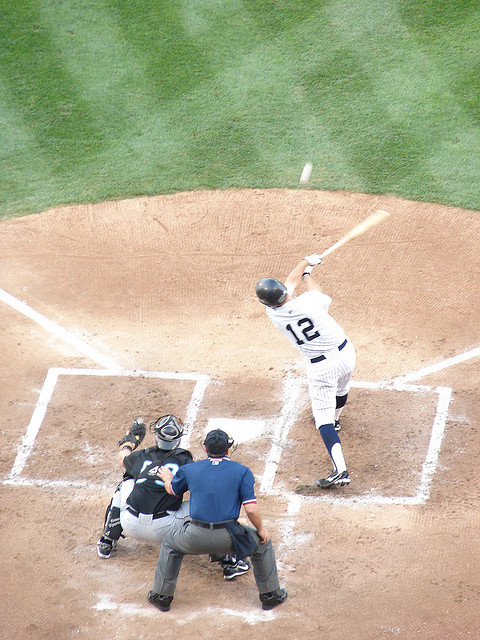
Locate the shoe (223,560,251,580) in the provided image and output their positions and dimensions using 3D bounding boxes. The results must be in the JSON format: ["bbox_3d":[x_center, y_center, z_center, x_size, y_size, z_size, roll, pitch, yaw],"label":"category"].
[{"bbox_3d":[-0.019,2.088,6.098,0.256,0.246,0.110,-25,65,-5],"label":"shoe"}]

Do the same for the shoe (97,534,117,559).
[{"bbox_3d":[-1.148,1.948,6.290,0.099,0.140,0.238,-55,18,15],"label":"shoe"}]

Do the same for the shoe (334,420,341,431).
[{"bbox_3d":[1.022,1.094,7.606,0.063,0.062,0.152,3,20,3],"label":"shoe"}]

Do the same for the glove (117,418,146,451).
[{"bbox_3d":[-0.930,1.018,6.473,0.332,0.126,0.188,-33,16,1],"label":"glove"}]

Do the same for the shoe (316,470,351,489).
[{"bbox_3d":[0.895,1.488,6.814,0.419,0.131,0.154,-4,98,19],"label":"shoe"}]

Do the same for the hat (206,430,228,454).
[{"bbox_3d":[-0.156,0.952,5.702,0.153,0.137,0.169,2,29,0],"label":"hat"}]

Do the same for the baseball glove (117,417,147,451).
[{"bbox_3d":[-0.895,1.011,6.528,0.217,0.128,0.307,25,68,27],"label":"baseball glove"}]

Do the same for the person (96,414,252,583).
[{"bbox_3d":[-0.557,1.550,6.127,1.385,1.018,0.848,10,31,11],"label":"person"}]
